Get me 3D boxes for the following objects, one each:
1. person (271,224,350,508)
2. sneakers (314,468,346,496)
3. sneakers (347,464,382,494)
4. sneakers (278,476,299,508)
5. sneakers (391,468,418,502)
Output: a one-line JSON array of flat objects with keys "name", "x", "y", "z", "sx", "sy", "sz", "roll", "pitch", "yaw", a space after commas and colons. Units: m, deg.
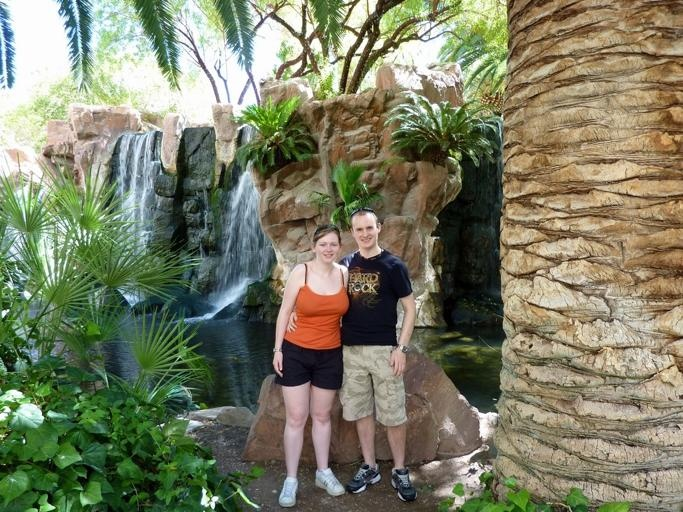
[{"name": "person", "x": -0.199, "y": 0.737, "z": 3.910, "sx": 0.529, "sy": 1.899, "sz": 0.295, "roll": 0, "pitch": 1, "yaw": -8}, {"name": "sneakers", "x": -0.091, "y": 1.590, "z": 3.937, "sx": 0.100, "sy": 0.125, "sz": 0.268, "roll": -5, "pitch": 1, "yaw": -36}, {"name": "sneakers", "x": 0.175, "y": 1.582, "z": 3.995, "sx": 0.112, "sy": 0.148, "sz": 0.297, "roll": -2, "pitch": -5, "yaw": 38}, {"name": "sneakers", "x": -0.358, "y": 1.602, "z": 3.790, "sx": 0.083, "sy": 0.091, "sz": 0.221, "roll": 8, "pitch": 0, "yaw": 2}, {"name": "sneakers", "x": 0.445, "y": 1.583, "z": 3.843, "sx": 0.098, "sy": 0.117, "sz": 0.252, "roll": 1, "pitch": -4, "yaw": -10}]
